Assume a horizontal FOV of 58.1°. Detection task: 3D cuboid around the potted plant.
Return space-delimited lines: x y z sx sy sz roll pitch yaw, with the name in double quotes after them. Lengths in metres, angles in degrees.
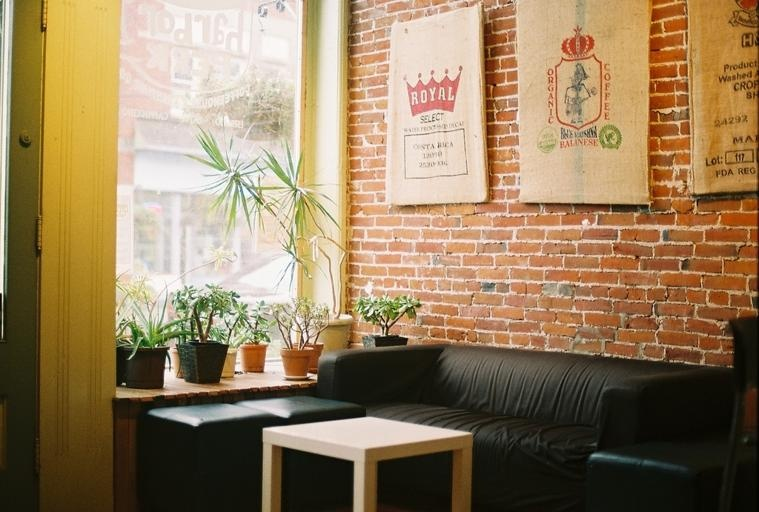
-1.351 -0.062 5.723 2.044 2.781 1.865 -3 -6 33 "potted plant"
